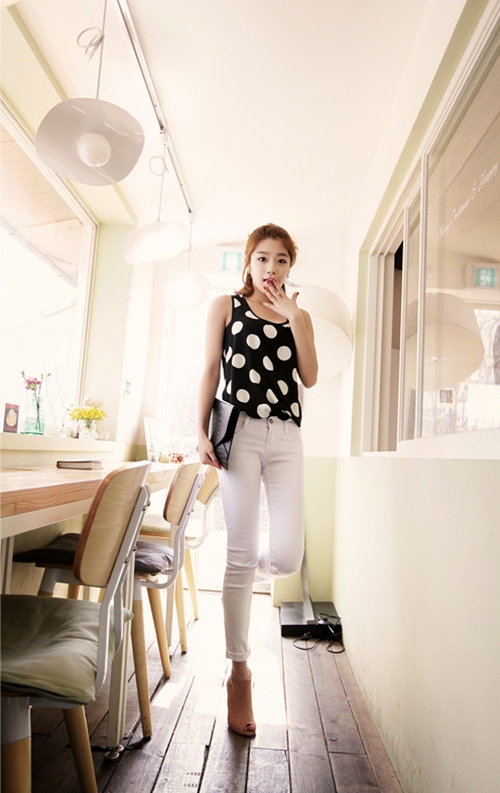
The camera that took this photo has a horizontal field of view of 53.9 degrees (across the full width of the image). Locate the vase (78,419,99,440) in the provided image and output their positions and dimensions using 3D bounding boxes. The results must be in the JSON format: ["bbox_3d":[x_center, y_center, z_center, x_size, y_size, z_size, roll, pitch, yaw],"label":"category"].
[{"bbox_3d":[-1.003,0.211,3.080,0.095,0.112,0.104,0,2,-3],"label":"vase"}]

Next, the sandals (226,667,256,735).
[{"bbox_3d":[-0.023,0.838,1.413,0.066,0.226,0.094,0,-35,-1],"label":"sandals"}]

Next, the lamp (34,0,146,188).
[{"bbox_3d":[-0.477,-0.757,1.481,0.320,0.118,0.281,-6,-16,43],"label":"lamp"}]

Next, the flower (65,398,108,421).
[{"bbox_3d":[-1.020,0.100,3.097,0.161,0.164,0.180,1,4,-1],"label":"flower"}]
